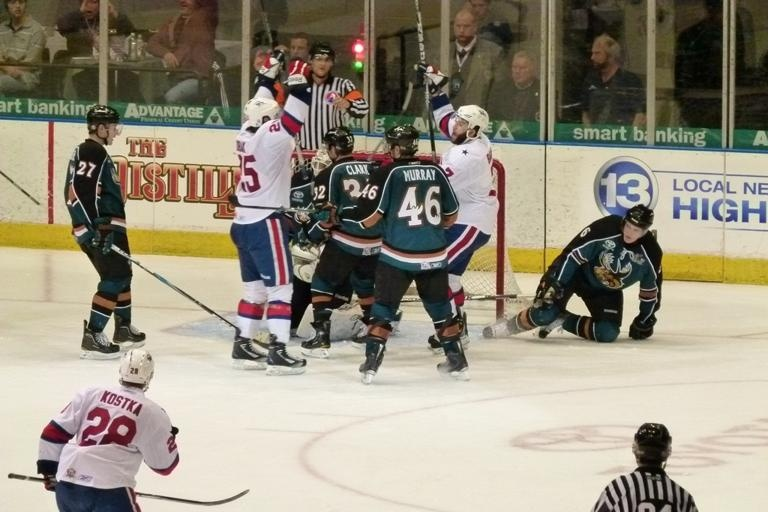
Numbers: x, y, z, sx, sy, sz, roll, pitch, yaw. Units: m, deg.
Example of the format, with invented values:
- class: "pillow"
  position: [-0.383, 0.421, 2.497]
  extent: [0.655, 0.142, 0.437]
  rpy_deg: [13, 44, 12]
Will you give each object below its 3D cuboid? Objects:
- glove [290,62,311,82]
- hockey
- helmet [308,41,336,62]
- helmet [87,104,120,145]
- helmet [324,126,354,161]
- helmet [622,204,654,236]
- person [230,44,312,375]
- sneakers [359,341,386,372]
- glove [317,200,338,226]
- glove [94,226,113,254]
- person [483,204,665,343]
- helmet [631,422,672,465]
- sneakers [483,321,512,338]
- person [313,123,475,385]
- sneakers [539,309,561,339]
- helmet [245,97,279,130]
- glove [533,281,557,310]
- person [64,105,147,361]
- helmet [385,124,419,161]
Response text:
- class: "glove"
  position: [-0.652, -1.418, 8.765]
  extent: [0.163, 0.206, 0.533]
  rpy_deg: [0, 4, -3]
- class: "hockey"
  position: [-1.469, 1.322, 6.422]
  extent: [1.581, 0.108, 0.097]
  rpy_deg: [8, 42, -34]
- class: "helmet"
  position: [-0.561, -1.831, 10.194]
  extent: [0.185, 0.214, 0.230]
  rpy_deg: [0, 12, -11]
- class: "helmet"
  position: [-2.210, -1.021, 8.995]
  extent: [0.309, 0.310, 0.257]
  rpy_deg: [-4, -9, -14]
- class: "helmet"
  position: [-0.377, -0.903, 9.122]
  extent: [0.239, 0.281, 0.271]
  rpy_deg: [-5, 21, -17]
- class: "helmet"
  position: [2.076, -0.302, 9.277]
  extent: [0.196, 0.185, 0.253]
  rpy_deg: [39, 23, 23]
- class: "person"
  position: [-0.881, -0.380, 8.771]
  extent: [0.591, 2.469, 0.761]
  rpy_deg: [-1, 5, -7]
- class: "sneakers"
  position: [-0.089, 0.732, 8.369]
  extent: [0.179, 0.251, 0.156]
  rpy_deg: [-1, 5, -8]
- class: "glove"
  position: [-0.429, -0.343, 8.913]
  extent: [0.180, 0.169, 0.133]
  rpy_deg: [6, 3, 21]
- class: "glove"
  position: [-2.178, -0.122, 8.816]
  extent: [0.140, 0.208, 0.083]
  rpy_deg: [0, 5, -3]
- class: "person"
  position: [1.725, 0.173, 10.127]
  extent: [0.875, 1.045, 0.608]
  rpy_deg: [25, 28, -16]
- class: "helmet"
  position: [1.325, 0.950, 5.759]
  extent: [0.180, 0.222, 0.217]
  rpy_deg: [-2, 29, 10]
- class: "sneakers"
  position: [0.967, 0.621, 9.752]
  extent: [0.236, 0.089, 0.113]
  rpy_deg: [-9, 32, -2]
- class: "person"
  position: [0.213, -0.023, 8.403]
  extent: [0.790, 1.886, 0.331]
  rpy_deg: [0, 5, -3]
- class: "sneakers"
  position: [1.390, 0.584, 9.679]
  extent: [0.100, 0.298, 0.122]
  rpy_deg: [53, 20, 20]
- class: "helmet"
  position: [-0.938, -1.108, 8.734]
  extent: [0.269, 0.210, 0.206]
  rpy_deg: [-34, 23, -3]
- class: "glove"
  position: [1.342, 0.315, 9.529]
  extent: [0.172, 0.217, 0.206]
  rpy_deg: [5, 29, 15]
- class: "person"
  position: [-2.195, -0.060, 8.904]
  extent: [0.536, 1.685, 0.380]
  rpy_deg: [-1, 5, -14]
- class: "helmet"
  position: [0.140, -0.860, 8.501]
  extent: [0.223, 0.251, 0.271]
  rpy_deg: [-8, 24, -21]
